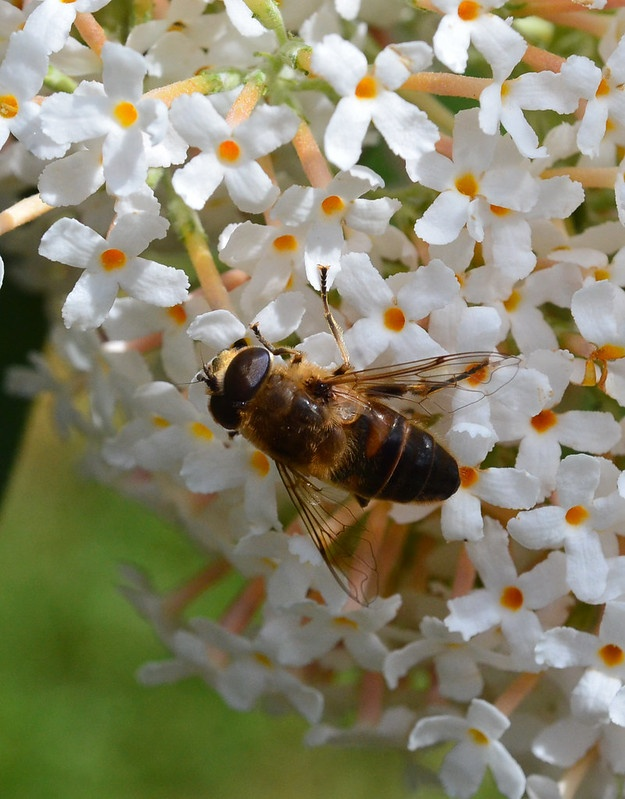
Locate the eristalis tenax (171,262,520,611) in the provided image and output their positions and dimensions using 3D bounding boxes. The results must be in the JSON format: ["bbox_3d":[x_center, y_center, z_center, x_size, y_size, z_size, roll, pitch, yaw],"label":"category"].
[{"bbox_3d":[0.010,0.026,0.732,0.314,0.088,0.253,30,-69,-3],"label":"eristalis tenax"}]
